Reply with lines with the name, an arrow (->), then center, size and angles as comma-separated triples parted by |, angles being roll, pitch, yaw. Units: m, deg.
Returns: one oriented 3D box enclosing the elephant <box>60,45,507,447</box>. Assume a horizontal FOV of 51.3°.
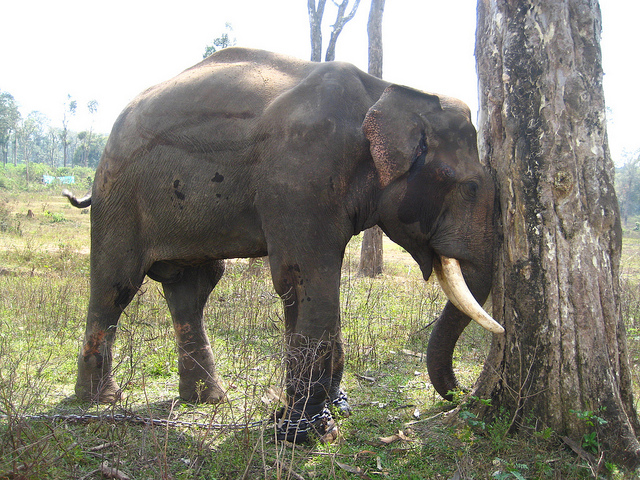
elephant -> -0.219, 0.042, 5.369 | 3.499, 3.058, 1.491 | 3, 13, 1
